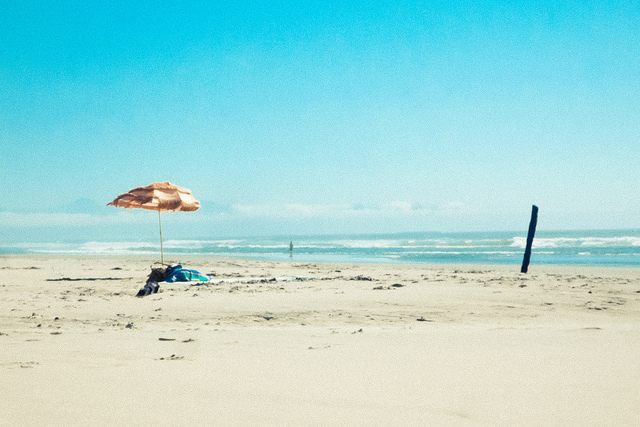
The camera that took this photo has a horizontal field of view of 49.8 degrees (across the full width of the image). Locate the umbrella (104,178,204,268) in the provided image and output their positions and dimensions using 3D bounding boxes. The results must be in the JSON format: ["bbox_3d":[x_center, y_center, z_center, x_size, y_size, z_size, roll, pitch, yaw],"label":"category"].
[{"bbox_3d":[-4.859,0.292,21.067,2.987,2.723,2.858,-2,8,-34],"label":"umbrella"}]
